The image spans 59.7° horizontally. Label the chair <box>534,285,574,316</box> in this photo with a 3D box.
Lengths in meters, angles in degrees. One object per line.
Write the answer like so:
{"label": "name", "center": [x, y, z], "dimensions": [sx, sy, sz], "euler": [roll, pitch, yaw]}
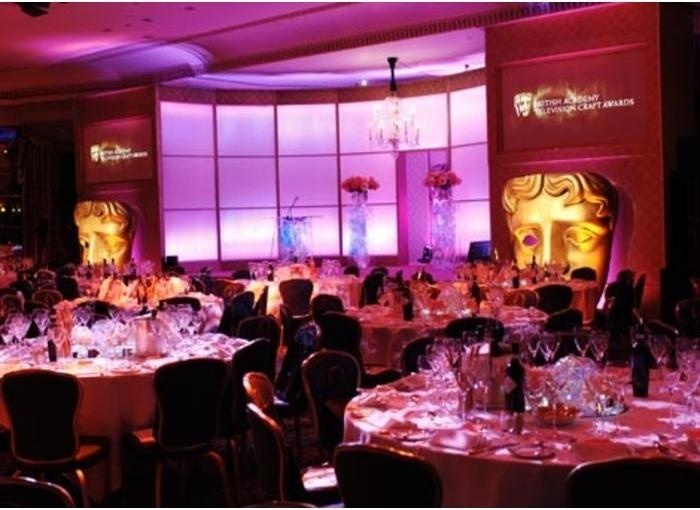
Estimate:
{"label": "chair", "center": [2.334, 0.483, 7.144], "dimensions": [0.378, 0.515, 0.416], "euler": [1, 8, 6]}

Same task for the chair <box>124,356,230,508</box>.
{"label": "chair", "center": [-1.155, 1.211, 4.187], "dimensions": [0.641, 1.017, 0.766], "euler": [-2, 0, -12]}

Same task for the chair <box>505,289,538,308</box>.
{"label": "chair", "center": [1.871, 0.480, 6.716], "dimensions": [0.228, 0.216, 0.240], "euler": [6, -9, -21]}

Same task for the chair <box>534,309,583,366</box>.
{"label": "chair", "center": [1.456, 0.580, 4.236], "dimensions": [0.262, 0.489, 0.263], "euler": [4, -7, -14]}

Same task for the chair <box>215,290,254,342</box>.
{"label": "chair", "center": [-1.289, 0.600, 6.956], "dimensions": [0.254, 0.717, 0.259], "euler": [32, -22, -36]}

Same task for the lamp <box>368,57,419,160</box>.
{"label": "lamp", "center": [0.950, -3.079, 12.992], "dimensions": [1.094, 2.009, 1.767], "euler": [-2, 0, 1]}

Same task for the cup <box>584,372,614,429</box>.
{"label": "cup", "center": [1.277, 0.734, 3.128], "dimensions": [0.114, 0.198, 0.079], "euler": [4, -24, -7]}

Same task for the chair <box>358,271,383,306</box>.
{"label": "chair", "center": [0.309, 0.509, 8.844], "dimensions": [0.367, 0.669, 0.414], "euler": [1, -1, 5]}

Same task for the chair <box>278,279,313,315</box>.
{"label": "chair", "center": [-0.713, 0.563, 8.207], "dimensions": [0.451, 0.571, 0.477], "euler": [0, -6, -10]}

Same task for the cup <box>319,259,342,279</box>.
{"label": "cup", "center": [-0.336, 0.220, 9.876], "dimensions": [0.298, 0.309, 0.373], "euler": [0, 3, 2]}

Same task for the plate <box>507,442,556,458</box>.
{"label": "plate", "center": [0.819, 0.886, 2.740], "dimensions": [0.198, 0.060, 0.111], "euler": [-2, -1, 2]}

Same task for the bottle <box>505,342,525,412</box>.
{"label": "bottle", "center": [0.811, 0.606, 2.994], "dimensions": [0.101, 0.313, 0.222], "euler": [-2, 0, 14]}

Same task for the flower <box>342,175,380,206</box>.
{"label": "flower", "center": [0.164, -1.377, 12.643], "dimensions": [0.696, 0.552, 0.706], "euler": [-2, 0, -42]}

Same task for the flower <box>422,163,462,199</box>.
{"label": "flower", "center": [1.856, -1.452, 12.435], "dimensions": [0.913, 0.929, 0.944], "euler": [-3, 2, 1]}

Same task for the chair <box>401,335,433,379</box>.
{"label": "chair", "center": [0.472, 0.754, 4.436], "dimensions": [0.272, 0.394, 0.317], "euler": [4, -3, 1]}
